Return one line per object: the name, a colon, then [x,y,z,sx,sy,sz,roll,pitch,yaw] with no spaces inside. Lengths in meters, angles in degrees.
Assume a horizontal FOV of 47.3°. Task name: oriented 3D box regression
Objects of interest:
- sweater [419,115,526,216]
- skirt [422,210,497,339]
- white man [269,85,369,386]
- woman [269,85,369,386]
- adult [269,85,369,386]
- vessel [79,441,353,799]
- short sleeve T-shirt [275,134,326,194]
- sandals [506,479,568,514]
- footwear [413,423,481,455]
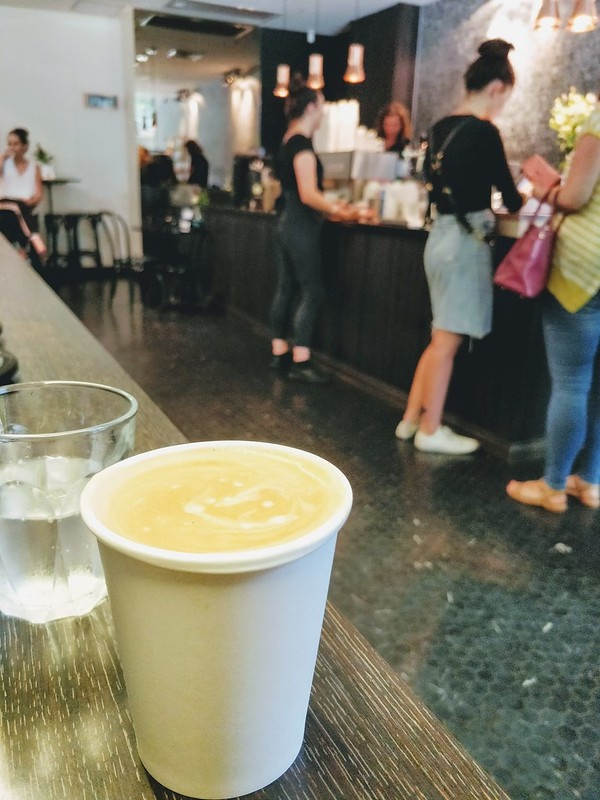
sweater: [0.482,-0.647,1.870,0.124,0.212,0.225,-36,41,-25]
skirt: [0.475,-0.373,2.005,0.196,0.327,0.244,-15,29,-3]
white man: [0.059,-0.552,2.193,0.246,0.742,0.231,-15,52,-14]
woman: [0.003,-0.465,2.214,0.329,0.962,0.416,8,20,17]
adult: [0.059,-0.552,2.193,0.246,0.742,0.231,-15,52,-14]
vessel: [-0.048,0.092,0.336,0.132,0.134,0.128,3,21,3]
short sleeve T-shirt: [-0.015,-0.704,2.029,0.122,0.216,0.144,-13,54,-8]
sandals: [0.683,0.274,2.000,0.158,0.065,0.081,18,34,26]
footwear: [0.503,0.128,2.310,0.182,0.074,0.092,-2,20,10]
